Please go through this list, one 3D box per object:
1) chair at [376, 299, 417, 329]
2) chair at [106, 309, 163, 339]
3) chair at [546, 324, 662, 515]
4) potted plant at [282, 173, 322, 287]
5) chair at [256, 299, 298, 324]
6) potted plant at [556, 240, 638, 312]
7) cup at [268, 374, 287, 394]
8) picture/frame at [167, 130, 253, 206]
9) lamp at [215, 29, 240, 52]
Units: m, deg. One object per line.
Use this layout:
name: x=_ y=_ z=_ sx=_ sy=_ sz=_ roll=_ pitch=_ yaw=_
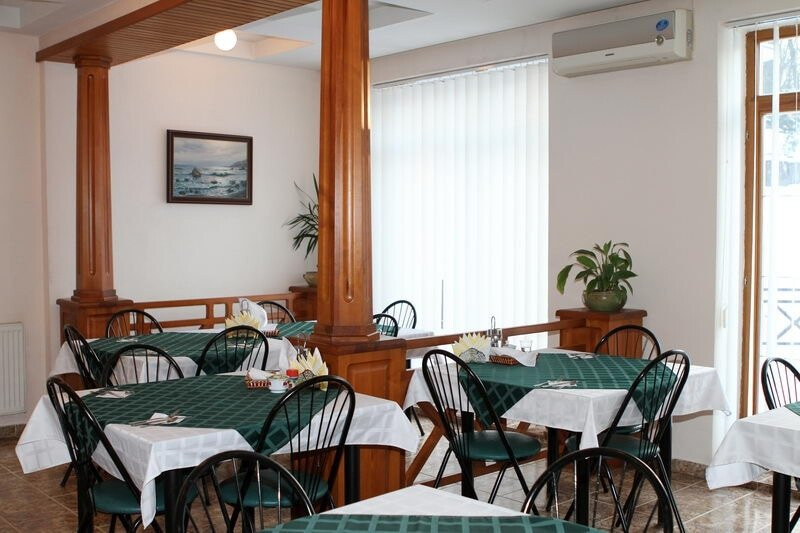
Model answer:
chair: x=-0.026 y=0.564 z=6.820 sx=0.359 sy=0.478 sz=0.351 roll=2 pitch=-1 yaw=21
chair: x=-2.626 y=0.564 z=5.694 sx=0.279 sy=0.352 sz=0.255 roll=-4 pitch=5 yaw=-39
chair: x=1.847 y=1.018 z=5.127 sx=0.775 sy=0.921 sz=0.734 roll=7 pitch=-13 yaw=-42
potted plant: x=-1.181 y=-0.645 z=7.354 sx=0.481 sy=1.110 sz=0.469 roll=-4 pitch=4 yaw=-29
chair: x=-1.446 y=0.512 z=6.743 sx=0.373 sy=0.291 sz=1.093 roll=-3 pitch=4 yaw=-14
potted plant: x=1.749 y=0.103 z=5.261 sx=0.664 sy=0.528 sz=0.670 roll=-3 pitch=-1 yaw=41
cup: x=-0.699 y=0.664 z=3.325 sx=0.087 sy=0.063 sz=0.087 roll=-1 pitch=2 yaw=0
picture/frame: x=-2.273 y=-1.152 z=6.791 sx=0.954 sy=0.746 sz=0.077 roll=1 pitch=-1 yaw=-35
lamp: x=-1.641 y=-2.143 z=5.461 sx=0.178 sy=0.196 sz=0.299 roll=-3 pitch=4 yaw=-19
